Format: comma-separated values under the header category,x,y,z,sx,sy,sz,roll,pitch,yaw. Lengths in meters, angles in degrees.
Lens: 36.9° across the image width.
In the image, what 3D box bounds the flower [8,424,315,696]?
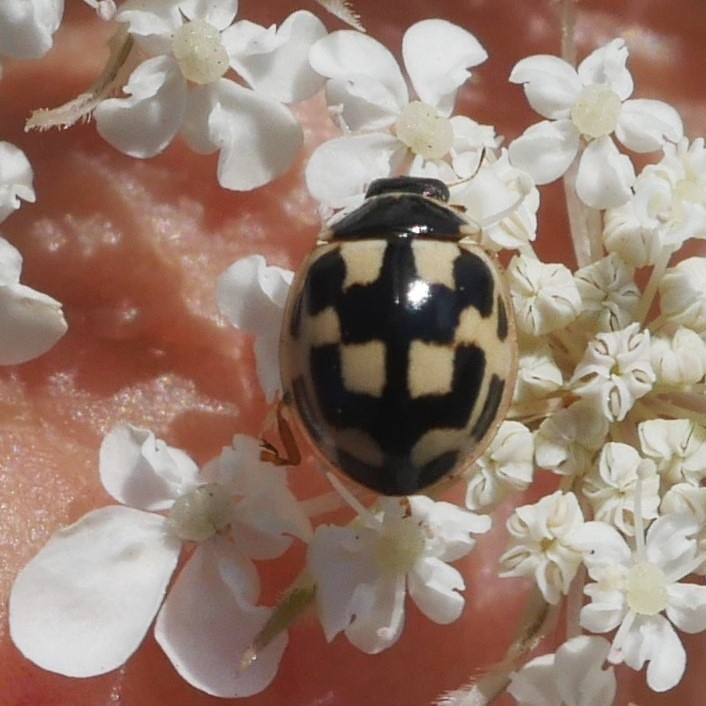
category,x,y,z,sx,sy,sz,roll,pitch,yaw
flower,-0.173,0.195,1.002,0.259,0.070,0.256,16,83,3

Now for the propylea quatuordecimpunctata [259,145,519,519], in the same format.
category,x,y,z,sx,sy,sz,roll,pitch,yaw
propylea quatuordecimpunctata,0.024,-0.006,0.791,0.224,0.099,0.244,2,83,5

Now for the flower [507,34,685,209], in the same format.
category,x,y,z,sx,sy,sz,roll,pitch,yaw
flower,0.232,-0.223,1.087,0.193,0.053,0.160,-14,70,-3
